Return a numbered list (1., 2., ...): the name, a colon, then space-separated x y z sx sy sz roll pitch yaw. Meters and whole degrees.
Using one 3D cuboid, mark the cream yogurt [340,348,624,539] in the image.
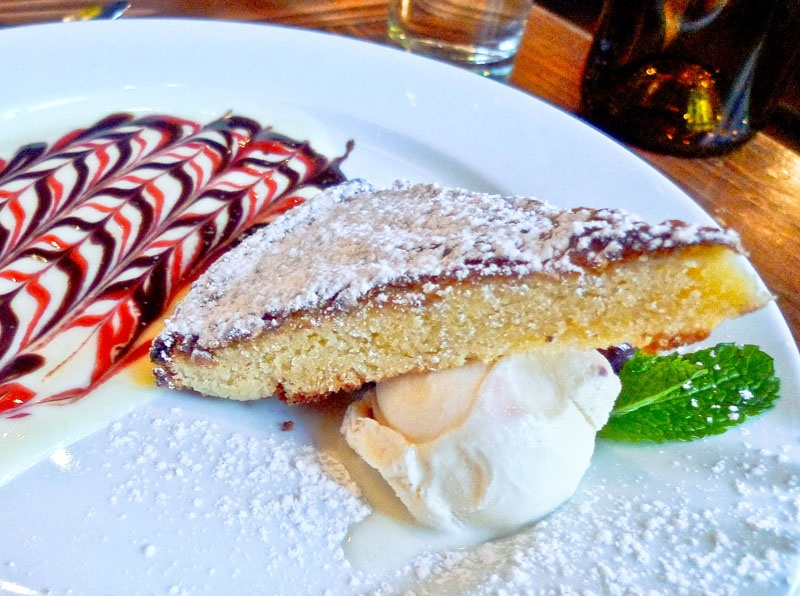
1. cream yogurt: 0.169 0.257 1.441 0.441 0.158 0.349 -28 42 -9
